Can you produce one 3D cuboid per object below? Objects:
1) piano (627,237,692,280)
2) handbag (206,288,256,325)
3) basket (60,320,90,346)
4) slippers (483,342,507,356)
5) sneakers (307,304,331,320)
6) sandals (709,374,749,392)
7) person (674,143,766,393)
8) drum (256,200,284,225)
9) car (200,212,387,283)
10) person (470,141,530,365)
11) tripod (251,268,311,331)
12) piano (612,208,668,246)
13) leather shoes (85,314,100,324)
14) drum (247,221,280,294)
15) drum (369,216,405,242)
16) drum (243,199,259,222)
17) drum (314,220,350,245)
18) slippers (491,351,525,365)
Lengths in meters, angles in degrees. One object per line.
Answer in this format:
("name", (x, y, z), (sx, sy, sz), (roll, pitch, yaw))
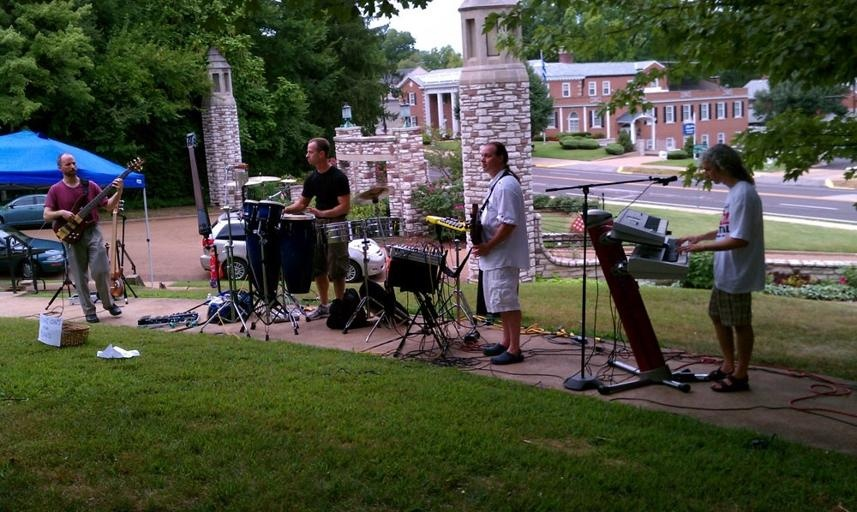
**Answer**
("piano", (3.246, 0.029, 11.160), (0.798, 0.331, 1.087), (3, 18, 20))
("handbag", (-3.440, 0.895, 13.895), (0.579, 0.260, 0.771), (-3, 9, 4))
("basket", (-5.655, 1.255, 12.729), (0.404, 0.341, 0.357), (-4, 7, -16))
("slippers", (1.033, 1.455, 12.292), (0.371, 0.139, 0.154), (3, -1, -25))
("sneakers", (-2.018, 0.995, 13.942), (0.557, 0.219, 0.199), (-1, 1, -32))
("sandals", (4.209, 1.803, 11.139), (0.571, 0.200, 0.205), (1, -2, -4))
("person", (4.200, 0.145, 11.152), (0.895, 3.441, 1.270), (0, 7, 22))
("drum", (-2.565, -0.716, 12.905), (0.403, 0.301, 0.381), (0, -1, 0))
("car", (-3.620, -0.109, 20.570), (4.565, 1.750, 2.106), (-1, 2, 3))
("person", (1.092, -0.020, 11.860), (0.759, 3.290, 0.425), (-1, 7, 13))
("tripod", (-2.610, 0.804, 13.750), (1.009, 1.299, 0.905), (4, -8, -39))
("piano", (3.020, -0.371, 11.235), (0.782, 0.292, 1.053), (16, 20, 11))
("leather shoes", (-5.905, 1.109, 14.022), (0.116, 0.119, 0.310), (1, -6, -41))
("drum", (-2.727, 0.044, 13.220), (0.533, 1.420, 0.595), (-4, 7, -11))
("drum", (-0.709, -0.465, 13.222), (0.439, 0.396, 0.657), (-1, 6, 11))
("drum", (-2.916, -0.743, 13.081), (0.358, 0.309, 0.299), (1, -3, -4))
("drum", (-1.546, -0.376, 12.967), (0.443, 0.246, 0.440), (-3, 2, 0))
("slippers", (1.188, 1.541, 11.946), (0.415, 0.136, 0.196), (0, -3, -13))
